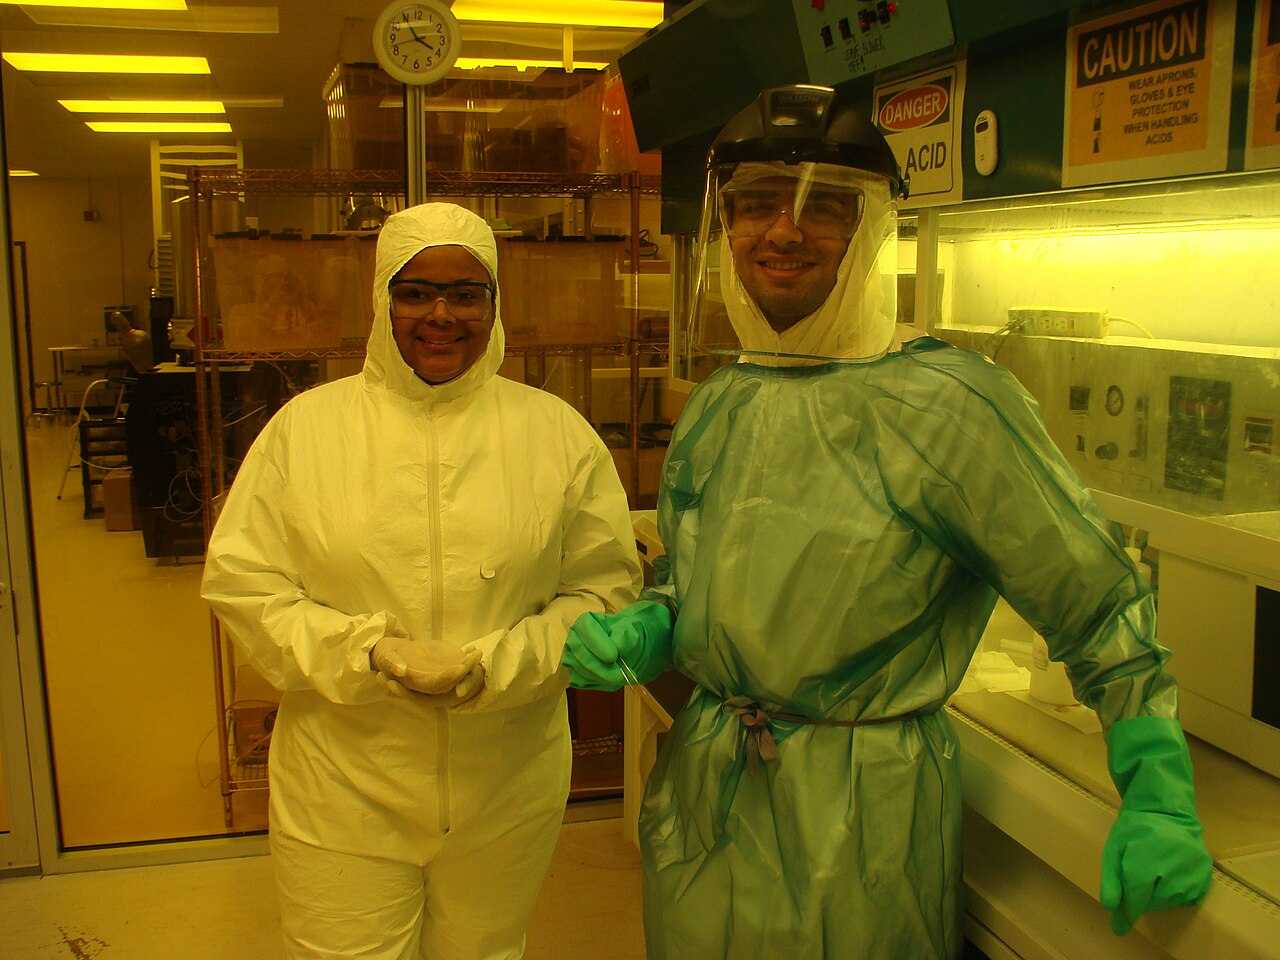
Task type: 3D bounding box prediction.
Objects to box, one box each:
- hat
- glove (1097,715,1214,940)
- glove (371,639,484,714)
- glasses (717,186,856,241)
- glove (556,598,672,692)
[{"bbox_3d":[0.273,-0.421,1.837,0.339,0.460,0.426,1,9,8],"label":"hat"},{"bbox_3d":[0.694,0.450,1.463,0.162,0.268,0.107,-27,-41,36],"label":"glove"},{"bbox_3d":[-0.357,0.324,1.861,0.185,0.118,0.075,-4,7,-13],"label":"glove"},{"bbox_3d":[0.231,-0.403,1.645,0.133,0.045,0.094,1,0,9],"label":"glasses"},{"bbox_3d":[-0.039,0.253,1.737,0.109,0.072,0.181,-42,-18,21],"label":"glove"}]
